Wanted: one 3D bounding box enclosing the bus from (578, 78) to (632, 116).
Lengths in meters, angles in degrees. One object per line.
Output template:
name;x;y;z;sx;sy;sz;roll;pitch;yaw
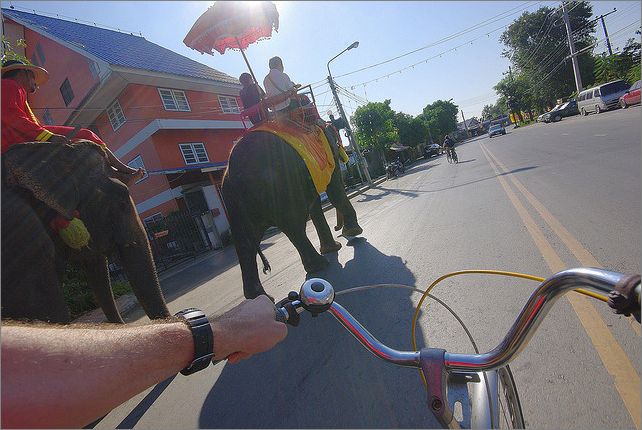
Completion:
bus;16.455;-6.610;20.473;1.808;1.489;3.441;-14;11;11

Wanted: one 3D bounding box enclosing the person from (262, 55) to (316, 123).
person;-0.498;-1.753;4.899;0.628;0.803;0.879;-16;7;-5

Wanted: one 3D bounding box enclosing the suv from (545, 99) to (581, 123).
suv;18.068;-7.681;26.201;1.052;1.123;3.823;-15;7;11
